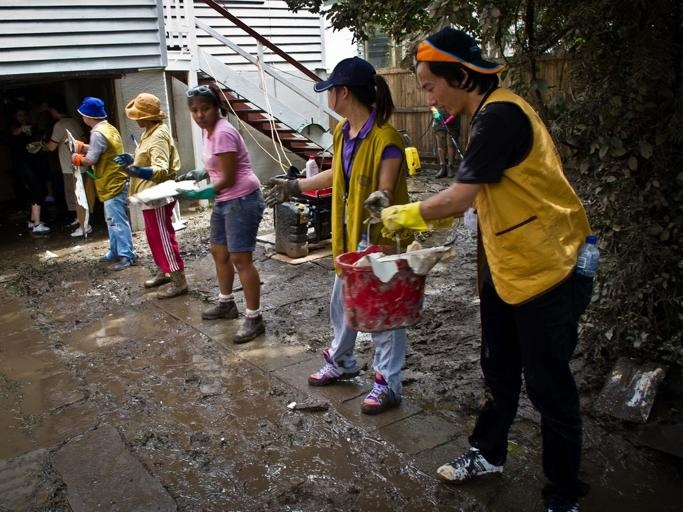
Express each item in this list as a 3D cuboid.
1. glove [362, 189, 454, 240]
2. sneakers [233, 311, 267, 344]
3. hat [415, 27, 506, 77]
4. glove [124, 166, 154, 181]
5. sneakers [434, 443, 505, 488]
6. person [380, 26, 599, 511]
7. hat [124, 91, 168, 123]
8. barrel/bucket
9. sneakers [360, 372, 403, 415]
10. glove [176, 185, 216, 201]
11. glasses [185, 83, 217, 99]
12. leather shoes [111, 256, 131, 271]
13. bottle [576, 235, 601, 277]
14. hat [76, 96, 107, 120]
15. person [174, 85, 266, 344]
[{"bbox_3d":[0.322,-0.228,3.083,0.367,0.156,0.426,4,4,-11],"label":"glove"},{"bbox_3d":[-0.912,0.734,5.189,0.179,0.209,0.373,1,4,39],"label":"sneakers"},{"bbox_3d":[0.638,-1.087,2.810,0.400,0.140,0.238,9,28,4],"label":"hat"},{"bbox_3d":[-2.163,-0.899,5.674,0.311,0.163,0.189,-17,24,-37],"label":"glove"},{"bbox_3d":[0.777,1.324,3.342,0.503,0.200,0.167,-2,12,-9],"label":"sneakers"},{"bbox_3d":[0.892,0.115,2.936,1.146,2.629,0.645,7,23,25],"label":"person"},{"bbox_3d":[-2.248,-1.713,6.140,0.351,0.190,0.403,23,21,-6],"label":"hat"},{"bbox_3d":[0.228,0.235,3.496,0.606,0.401,0.542,-6,9,-31],"label":"barrel/bucket"},{"bbox_3d":[0.323,1.074,3.983,0.160,0.280,0.447,-18,-10,34],"label":"sneakers"},{"bbox_3d":[-1.340,-0.569,4.842,0.380,0.134,0.262,-4,19,-4],"label":"glove"},{"bbox_3d":[-1.301,-1.526,4.928,0.270,0.118,0.193,-8,19,-15],"label":"glasses"},{"bbox_3d":[-3.103,0.120,7.500,0.133,0.126,0.316,14,10,19],"label":"leather shoes"},{"bbox_3d":[1.362,0.009,2.893,0.092,0.218,0.214,9,23,30],"label":"bottle"},{"bbox_3d":[-3.447,-2.040,7.299,0.307,0.297,0.361,-5,19,-7],"label":"hat"},{"bbox_3d":[-1.097,-0.389,5.103,0.713,2.405,0.858,-13,23,-24],"label":"person"}]
